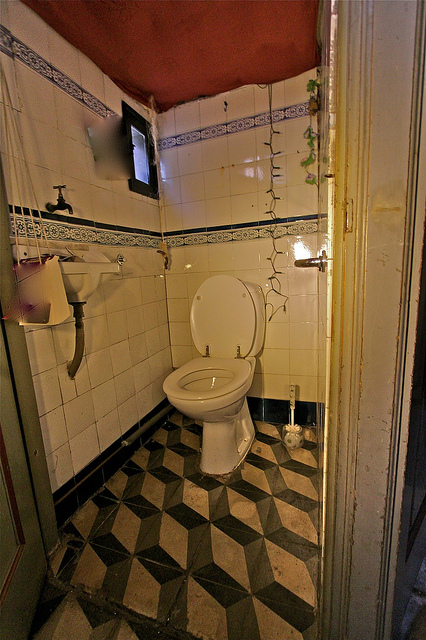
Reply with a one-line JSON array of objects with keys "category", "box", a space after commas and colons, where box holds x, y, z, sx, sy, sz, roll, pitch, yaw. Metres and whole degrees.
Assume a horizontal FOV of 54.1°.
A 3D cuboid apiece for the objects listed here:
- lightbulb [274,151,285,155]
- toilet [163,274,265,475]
[{"category": "lightbulb", "box": [0.303, -0.759, 1.887, 0.040, 0.011, 0.008, 1, 12, 16]}, {"category": "toilet", "box": [0.021, 0.213, 1.825, 0.388, 0.777, 0.703, 0, 12, 10]}]
